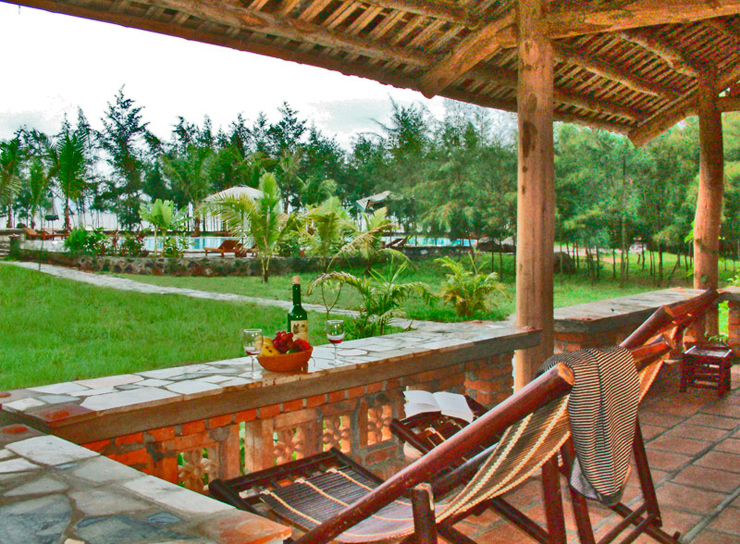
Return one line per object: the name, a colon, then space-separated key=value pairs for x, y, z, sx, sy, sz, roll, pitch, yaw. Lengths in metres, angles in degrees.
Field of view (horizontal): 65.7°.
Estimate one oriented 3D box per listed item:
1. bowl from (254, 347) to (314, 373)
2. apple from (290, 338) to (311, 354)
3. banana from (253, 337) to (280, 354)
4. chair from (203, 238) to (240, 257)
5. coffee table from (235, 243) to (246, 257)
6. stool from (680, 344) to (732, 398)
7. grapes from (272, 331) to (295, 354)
bowl: x=-0.450 y=0.442 z=2.999 sx=0.170 sy=0.066 sz=0.170 roll=-4 pitch=1 yaw=0
apple: x=-0.366 y=0.390 z=3.058 sx=0.077 sy=0.063 sz=0.084 roll=-1 pitch=1 yaw=-25
banana: x=-0.538 y=0.376 z=2.964 sx=0.040 sy=0.092 sz=0.095 roll=-44 pitch=-28 yaw=27
chair: x=-4.715 y=-0.832 z=18.518 sx=0.604 sy=0.520 sz=1.096 roll=0 pitch=7 yaw=-33
coffee table: x=-4.164 y=-0.696 z=18.352 sx=0.428 sy=0.423 sz=0.761 roll=3 pitch=1 yaw=-14
stool: x=3.434 y=0.950 z=5.849 sx=0.472 sy=0.449 sz=0.489 roll=2 pitch=4 yaw=31
grapes: x=-0.453 y=0.364 z=2.996 sx=0.111 sy=0.118 sz=0.107 roll=-3 pitch=-5 yaw=-5
